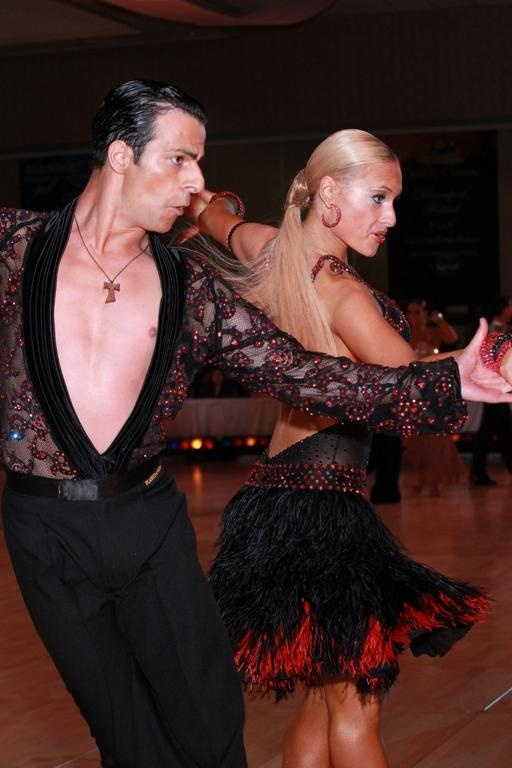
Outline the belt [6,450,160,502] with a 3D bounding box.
[{"bbox_3d":[-0.254,0.145,1.075,0.248,0.043,0.140,-4,9,-21],"label":"belt"}]
